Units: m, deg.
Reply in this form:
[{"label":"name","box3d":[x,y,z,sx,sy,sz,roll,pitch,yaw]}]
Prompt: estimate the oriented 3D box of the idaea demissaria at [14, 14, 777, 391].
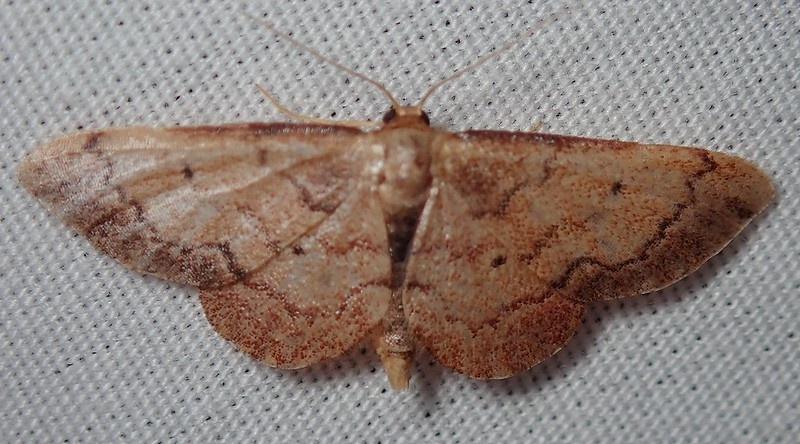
[{"label":"idaea demissaria","box3d":[0.043,-0.123,3.145,2.234,0.421,1.012,0,99,1]}]
